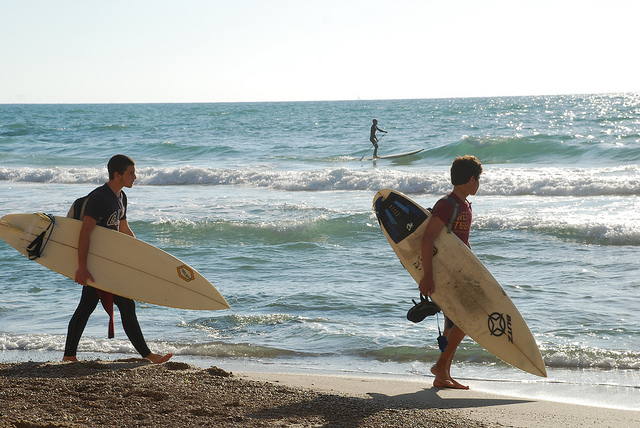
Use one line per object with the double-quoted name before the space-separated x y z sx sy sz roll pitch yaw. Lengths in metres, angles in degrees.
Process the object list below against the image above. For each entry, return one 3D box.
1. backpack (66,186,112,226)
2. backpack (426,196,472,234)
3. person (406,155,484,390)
"backpack" -2.763 -0.101 10.143 0.657 0.453 0.250 -1 9 40
"backpack" 1.509 -0.068 9.822 0.537 0.454 0.323 -19 28 2
"person" 1.565 0.677 10.310 1.024 2.756 1.304 -6 7 10
